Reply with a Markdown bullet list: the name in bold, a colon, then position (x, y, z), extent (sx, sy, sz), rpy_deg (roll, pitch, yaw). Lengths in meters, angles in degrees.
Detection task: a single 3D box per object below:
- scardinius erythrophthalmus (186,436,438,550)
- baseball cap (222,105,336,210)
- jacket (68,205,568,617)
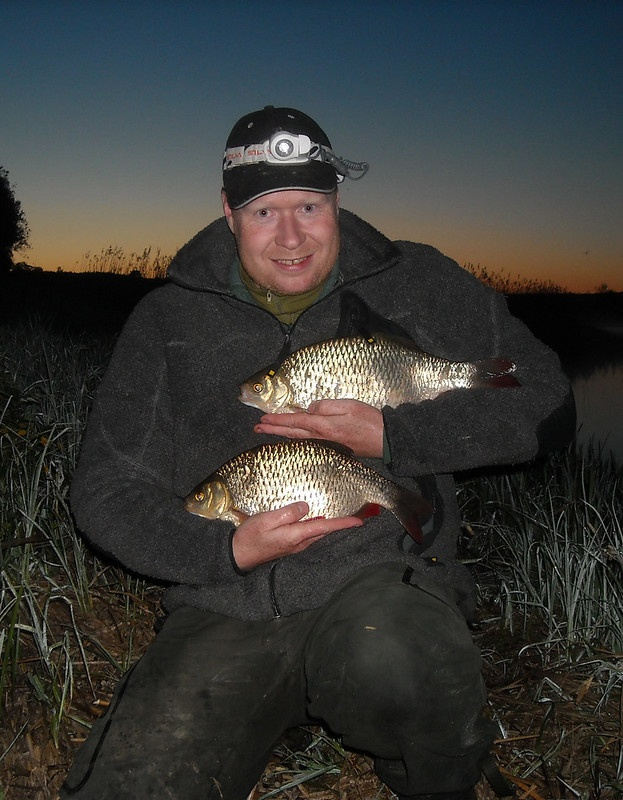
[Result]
- **scardinius erythrophthalmus**: position (-0.005, 0.244, 2.146), extent (0.894, 0.331, 0.241), rpy_deg (5, 7, 2)
- **baseball cap**: position (-0.125, -0.874, 2.408), extent (0.400, 0.262, 0.482), rpy_deg (-5, 33, -3)
- **jacket**: position (-0.001, 0.101, 2.281), extent (1.730, 1.494, 0.553), rpy_deg (2, -12, 1)
